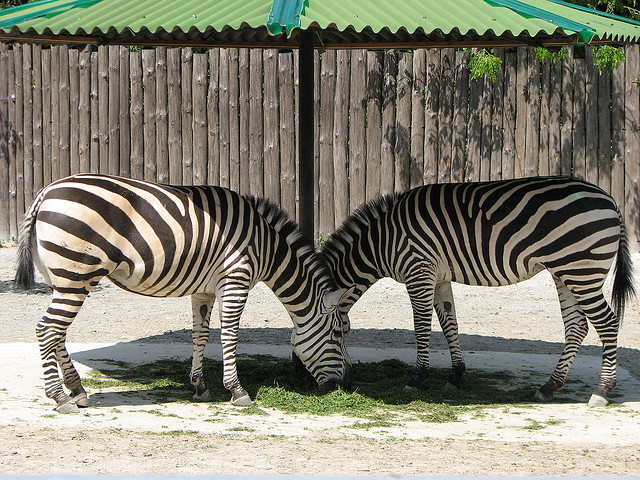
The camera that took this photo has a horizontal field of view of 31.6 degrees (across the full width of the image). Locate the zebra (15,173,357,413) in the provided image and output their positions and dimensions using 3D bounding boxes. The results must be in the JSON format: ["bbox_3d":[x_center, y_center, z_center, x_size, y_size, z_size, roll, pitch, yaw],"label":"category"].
[{"bbox_3d":[-1.138,0.524,10.349,3.056,2.117,0.927,3,5,-16],"label":"zebra"}]
